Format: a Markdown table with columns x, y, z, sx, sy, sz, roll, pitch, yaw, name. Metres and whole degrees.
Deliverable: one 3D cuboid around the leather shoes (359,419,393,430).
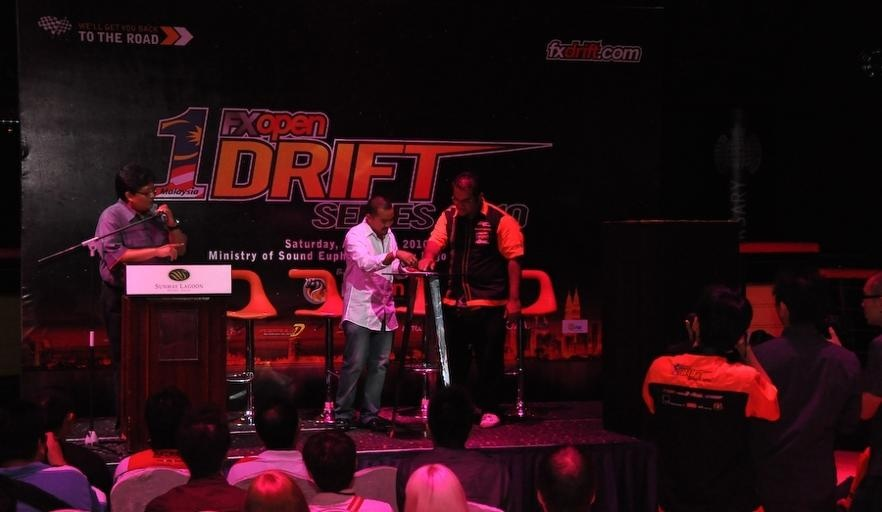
| x | y | z | sx | sy | sz | roll | pitch | yaw | name |
| --- | --- | --- | --- | --- | --- | --- | --- | --- | --- |
| -0.637 | 1.603 | 6.828 | 0.271 | 0.104 | 0.112 | -2 | -3 | 12 | leather shoes |
